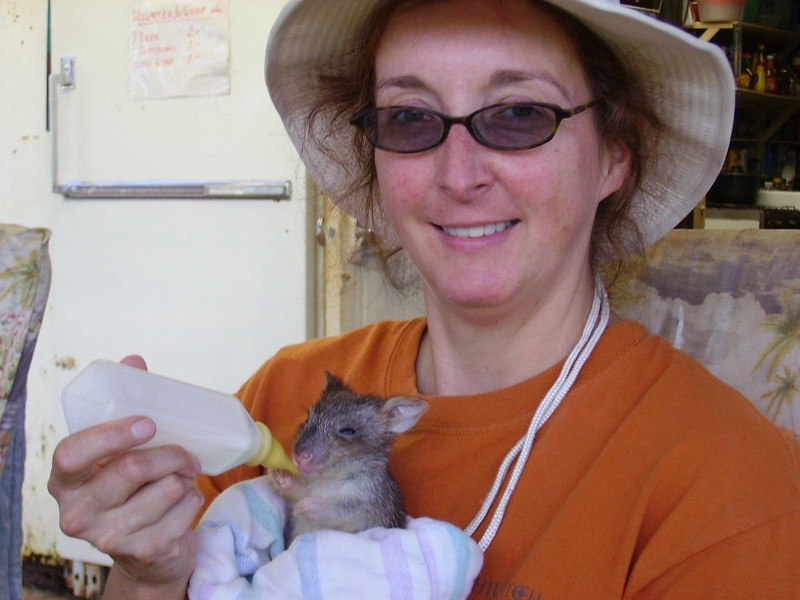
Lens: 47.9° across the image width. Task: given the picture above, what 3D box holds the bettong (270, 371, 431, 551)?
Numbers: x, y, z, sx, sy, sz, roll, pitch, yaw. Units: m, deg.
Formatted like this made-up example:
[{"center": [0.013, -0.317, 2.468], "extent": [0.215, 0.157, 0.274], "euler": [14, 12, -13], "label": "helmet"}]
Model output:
[{"center": [-0.166, 0.440, 2.565], "extent": [0.420, 0.490, 0.335], "euler": [-7, 15, -41], "label": "bettong"}]
